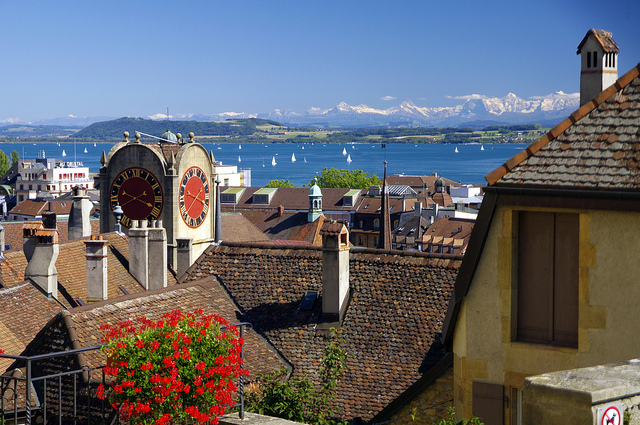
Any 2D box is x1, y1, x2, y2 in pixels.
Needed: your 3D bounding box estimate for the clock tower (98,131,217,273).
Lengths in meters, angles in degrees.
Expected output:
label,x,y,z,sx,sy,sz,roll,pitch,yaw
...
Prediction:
label,x,y,z,sx,sy,sz,roll,pitch,yaw
clock tower,-7.002,-0.254,45.224,4.654,6.412,4.630,-1,0,7
